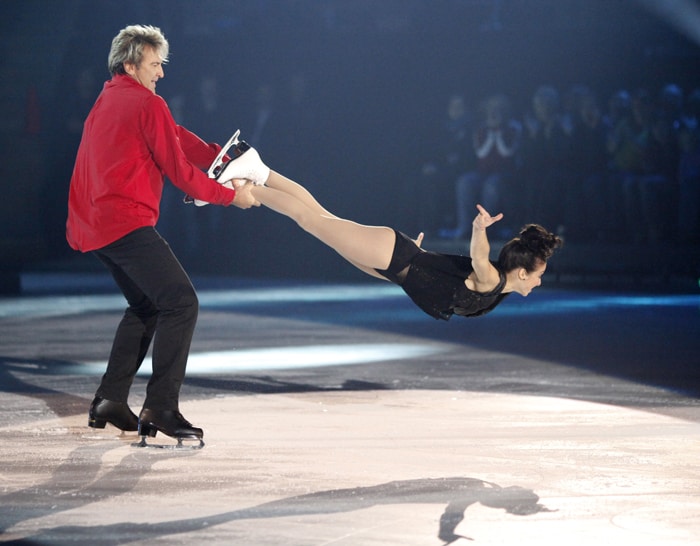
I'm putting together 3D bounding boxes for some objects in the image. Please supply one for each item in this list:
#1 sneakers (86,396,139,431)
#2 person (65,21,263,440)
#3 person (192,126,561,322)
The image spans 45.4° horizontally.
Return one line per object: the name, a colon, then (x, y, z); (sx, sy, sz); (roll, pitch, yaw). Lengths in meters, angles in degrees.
sneakers: (-1.130, 0.707, 4.122); (0.324, 0.130, 0.111); (22, -15, -38)
person: (-0.748, -0.203, 4.165); (1.451, 1.927, 0.746); (1, 2, -10)
person: (0.173, -0.209, 4.359); (1.851, 0.509, 1.155); (24, 2, -5)
